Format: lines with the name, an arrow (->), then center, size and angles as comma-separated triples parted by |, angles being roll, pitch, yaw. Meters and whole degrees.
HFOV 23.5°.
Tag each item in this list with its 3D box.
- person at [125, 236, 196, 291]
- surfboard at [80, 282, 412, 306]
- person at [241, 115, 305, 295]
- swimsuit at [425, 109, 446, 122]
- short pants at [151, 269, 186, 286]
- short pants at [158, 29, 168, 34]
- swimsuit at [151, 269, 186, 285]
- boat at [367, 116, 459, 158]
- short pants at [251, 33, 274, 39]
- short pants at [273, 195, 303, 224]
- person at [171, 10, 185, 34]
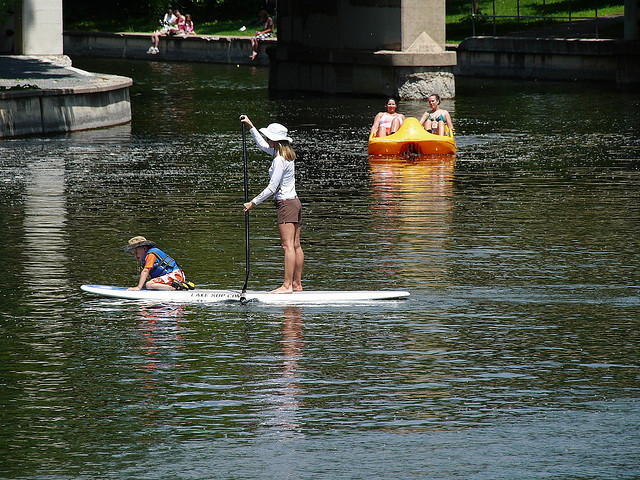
person -> -1.884, 0.288, 18.253 | 0.858, 0.589, 0.547 | 3, 4, -12
surfboard -> -0.758, 0.625, 18.083 | 3.696, 0.222, 0.731 | -2, 10, 3
person -> -0.467, -0.347, 17.769 | 0.502, 1.999, 0.429 | -4, 12, -9
swimsuit -> 2.339, -2.489, 30.784 | 0.265, 0.171, 0.139 | 1, -15, 14
short pants -> -1.770, 0.450, 18.185 | 0.313, 0.120, 0.180 | -10, 11, -3
short pants -> -6.792, -9.156, 67.062 | 0.314, 0.078, 0.220 | 8, -23, 24
swimsuit -> -1.770, 0.453, 18.184 | 0.305, 0.118, 0.176 | -12, 8, -1
boat -> 1.858, -2.126, 31.377 | 1.828, 0.791, 2.327 | 0, 5, 3
short pants -> -2.254, -8.449, 63.341 | 1.014, 0.393, 0.295 | 1, 1, 0
short pants -> -0.343, -0.343, 17.843 | 0.299, 0.378, 0.346 | -6, -10, 19
person -> -6.188, -9.597, 67.469 | 0.615, 0.977, 2.279 | -3, 11, -5
